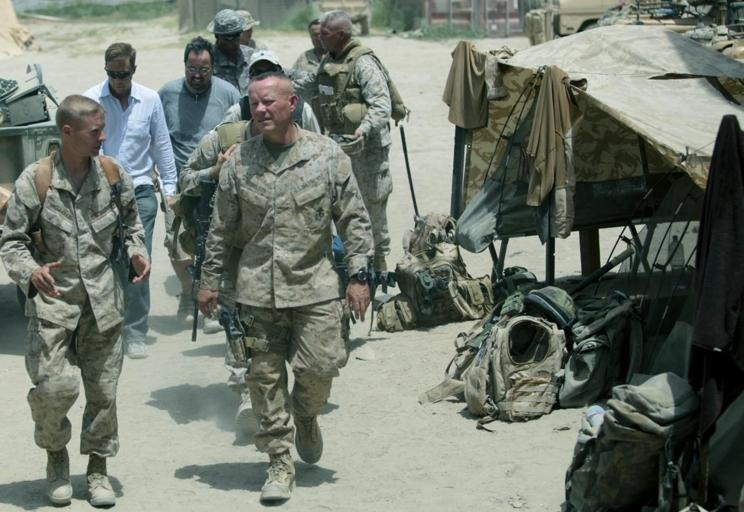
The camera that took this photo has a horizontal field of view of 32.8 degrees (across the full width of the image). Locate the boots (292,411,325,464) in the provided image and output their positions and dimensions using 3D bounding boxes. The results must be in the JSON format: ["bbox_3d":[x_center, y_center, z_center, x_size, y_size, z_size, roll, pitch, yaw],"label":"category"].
[{"bbox_3d":[-0.453,1.308,9.027,0.140,0.406,0.155,-9,15,-5],"label":"boots"}]

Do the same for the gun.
[{"bbox_3d":[-1.314,-0.012,9.744,0.293,1.318,0.102,-5,-12,32],"label":"gun"}]

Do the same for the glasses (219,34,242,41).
[{"bbox_3d":[-1.343,-2.055,11.971,0.103,0.056,0.092,-3,5,-40],"label":"glasses"}]

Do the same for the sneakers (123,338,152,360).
[{"bbox_3d":[-2.091,0.813,11.068,0.178,0.139,0.321,1,-10,-8],"label":"sneakers"}]

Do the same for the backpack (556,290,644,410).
[{"bbox_3d":[1.753,0.718,9.824,0.323,0.800,0.690,19,-10,-23],"label":"backpack"}]

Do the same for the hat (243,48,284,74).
[{"bbox_3d":[-0.895,-1.601,10.415,0.224,0.132,0.355,-4,1,1],"label":"hat"}]

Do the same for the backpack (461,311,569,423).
[{"bbox_3d":[1.128,0.860,9.807,0.642,0.871,0.374,25,-20,13],"label":"backpack"}]

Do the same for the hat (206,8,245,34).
[{"bbox_3d":[-1.426,-2.198,11.978,0.278,0.105,0.277,-14,27,-21],"label":"hat"}]

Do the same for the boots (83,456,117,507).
[{"bbox_3d":[-1.884,1.539,8.668,0.134,0.180,0.409,-3,18,-21],"label":"boots"}]

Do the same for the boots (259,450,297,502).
[{"bbox_3d":[-0.674,1.504,8.778,0.222,0.308,0.335,-2,17,5],"label":"boots"}]

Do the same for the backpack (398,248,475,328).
[{"bbox_3d":[0.547,0.314,11.508,0.574,0.663,0.311,-2,23,9],"label":"backpack"}]

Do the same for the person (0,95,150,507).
[{"bbox_3d":[-1.987,0.303,8.671,0.969,2.682,0.796,-14,19,-33],"label":"person"}]
